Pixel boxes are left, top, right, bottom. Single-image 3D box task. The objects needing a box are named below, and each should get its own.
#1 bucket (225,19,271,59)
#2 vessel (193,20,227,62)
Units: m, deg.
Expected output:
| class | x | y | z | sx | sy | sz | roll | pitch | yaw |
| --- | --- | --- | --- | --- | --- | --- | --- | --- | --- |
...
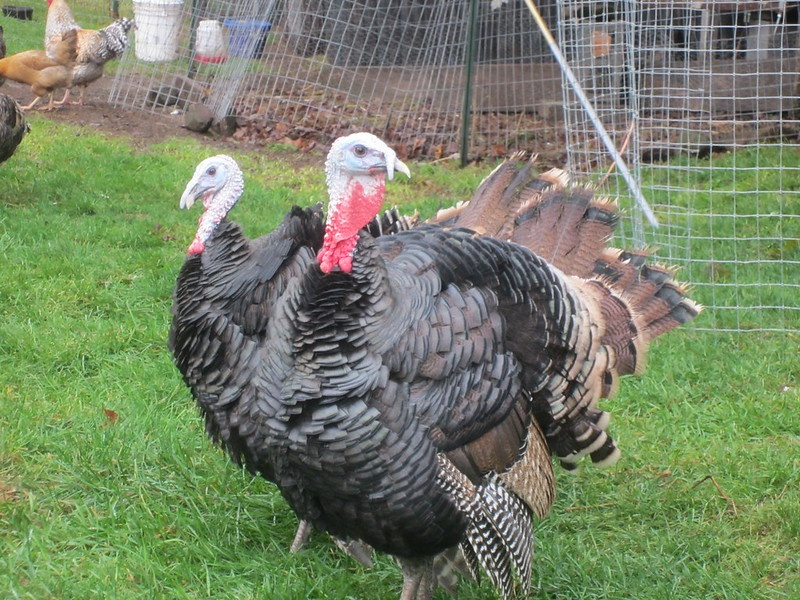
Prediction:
| class | x | y | z | sx | sy | sz | roll | pitch | yaw |
| --- | --- | --- | --- | --- | --- | --- | --- | --- | --- |
| bucket | -2.018 | -3.403 | 12.889 | 0.636 | 0.503 | 0.667 | 6 | 19 | -2 |
| vessel | -2.628 | -3.541 | 13.665 | 0.398 | 0.567 | 0.409 | 7 | 8 | -14 |
